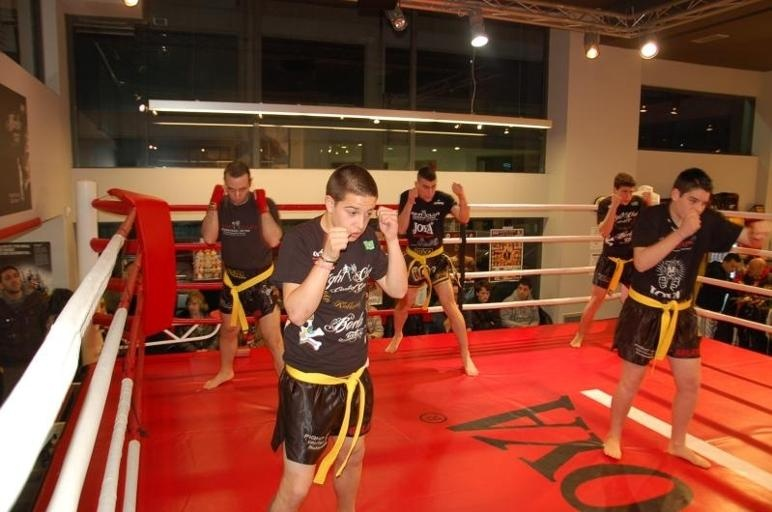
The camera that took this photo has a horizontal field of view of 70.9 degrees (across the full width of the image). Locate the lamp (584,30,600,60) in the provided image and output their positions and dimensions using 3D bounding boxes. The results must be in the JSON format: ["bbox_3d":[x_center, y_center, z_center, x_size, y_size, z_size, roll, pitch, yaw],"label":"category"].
[{"bbox_3d":[2.586,-2.672,6.867,0.155,0.303,0.221,2,12,11],"label":"lamp"}]

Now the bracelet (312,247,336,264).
[{"bbox_3d":[-0.313,-0.005,2.887,0.113,0.105,0.076,-1,12,-6],"label":"bracelet"}]

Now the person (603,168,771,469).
[{"bbox_3d":[2.016,0.408,3.782,0.858,2.001,0.628,3,12,15],"label":"person"}]

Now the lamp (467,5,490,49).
[{"bbox_3d":[1.090,-2.700,6.479,0.203,0.380,0.405,2,12,9],"label":"lamp"}]
